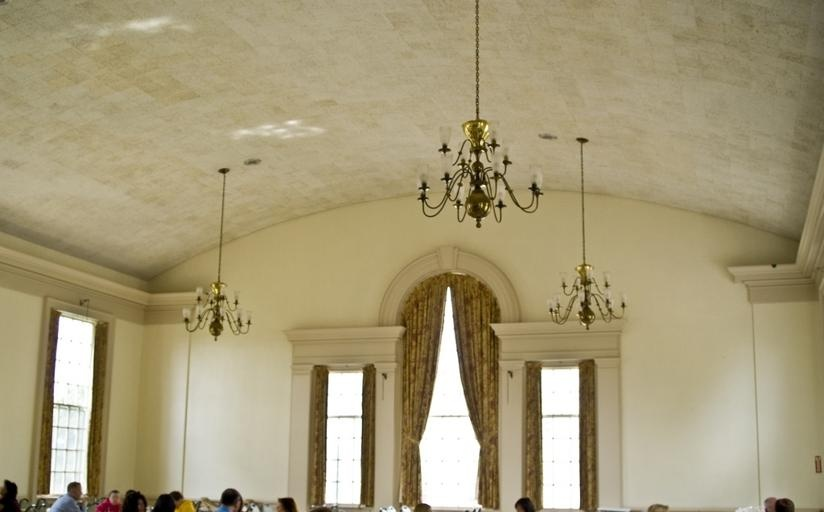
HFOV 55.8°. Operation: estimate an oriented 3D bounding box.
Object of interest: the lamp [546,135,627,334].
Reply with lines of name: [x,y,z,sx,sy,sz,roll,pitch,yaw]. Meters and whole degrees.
lamp: [3.323,-0.592,15.084,1.583,3.698,1.580,-2,-2,18]
